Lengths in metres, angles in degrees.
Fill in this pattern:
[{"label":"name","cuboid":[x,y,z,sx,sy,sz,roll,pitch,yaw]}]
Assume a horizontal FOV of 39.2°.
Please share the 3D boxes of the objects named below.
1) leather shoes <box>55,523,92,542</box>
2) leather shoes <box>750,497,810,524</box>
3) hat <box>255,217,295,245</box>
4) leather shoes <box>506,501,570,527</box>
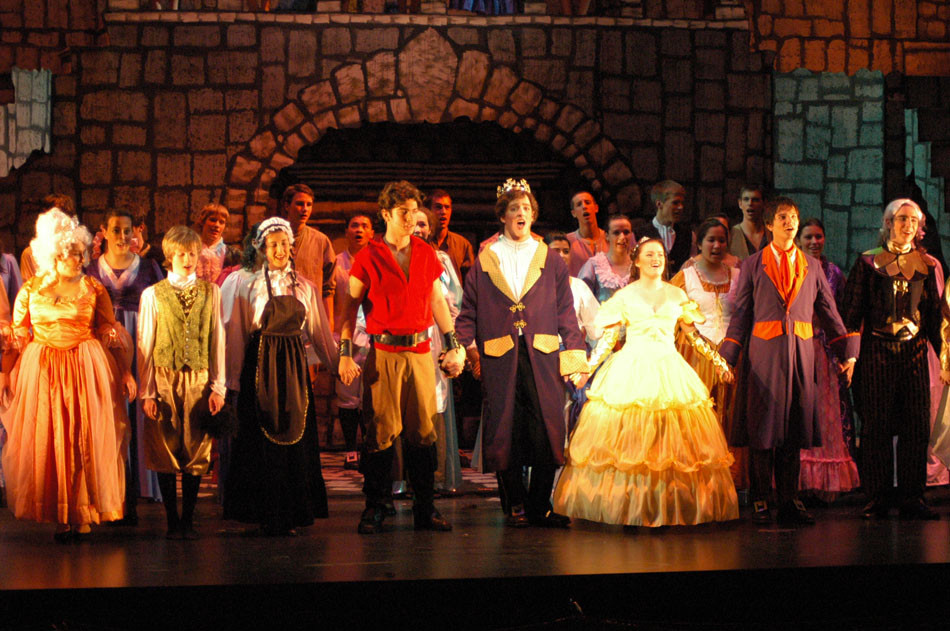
[{"label":"leather shoes","cuboid":[-2.302,1.314,8.166,0.143,0.108,0.302,-3,-5,23]},{"label":"leather shoes","cuboid":[1.947,1.230,8.469,0.411,0.163,0.146,-2,-1,4]},{"label":"hat","cuboid":[-1.157,-0.540,8.296,0.170,0.082,0.200,11,29,21]},{"label":"leather shoes","cuboid":[0.421,1.222,8.340,0.404,0.160,0.142,0,-1,-11]}]
